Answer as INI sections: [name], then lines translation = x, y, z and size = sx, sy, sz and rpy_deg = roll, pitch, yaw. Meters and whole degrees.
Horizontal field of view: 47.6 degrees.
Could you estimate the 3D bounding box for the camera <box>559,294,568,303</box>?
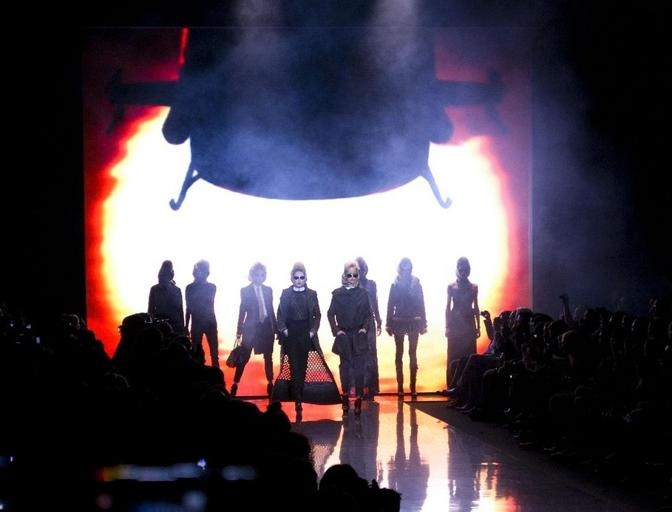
[camera]
translation = 2.777, 0.519, 9.248
size = 0.098, 0.142, 0.092
rpy_deg = 6, -18, 1
